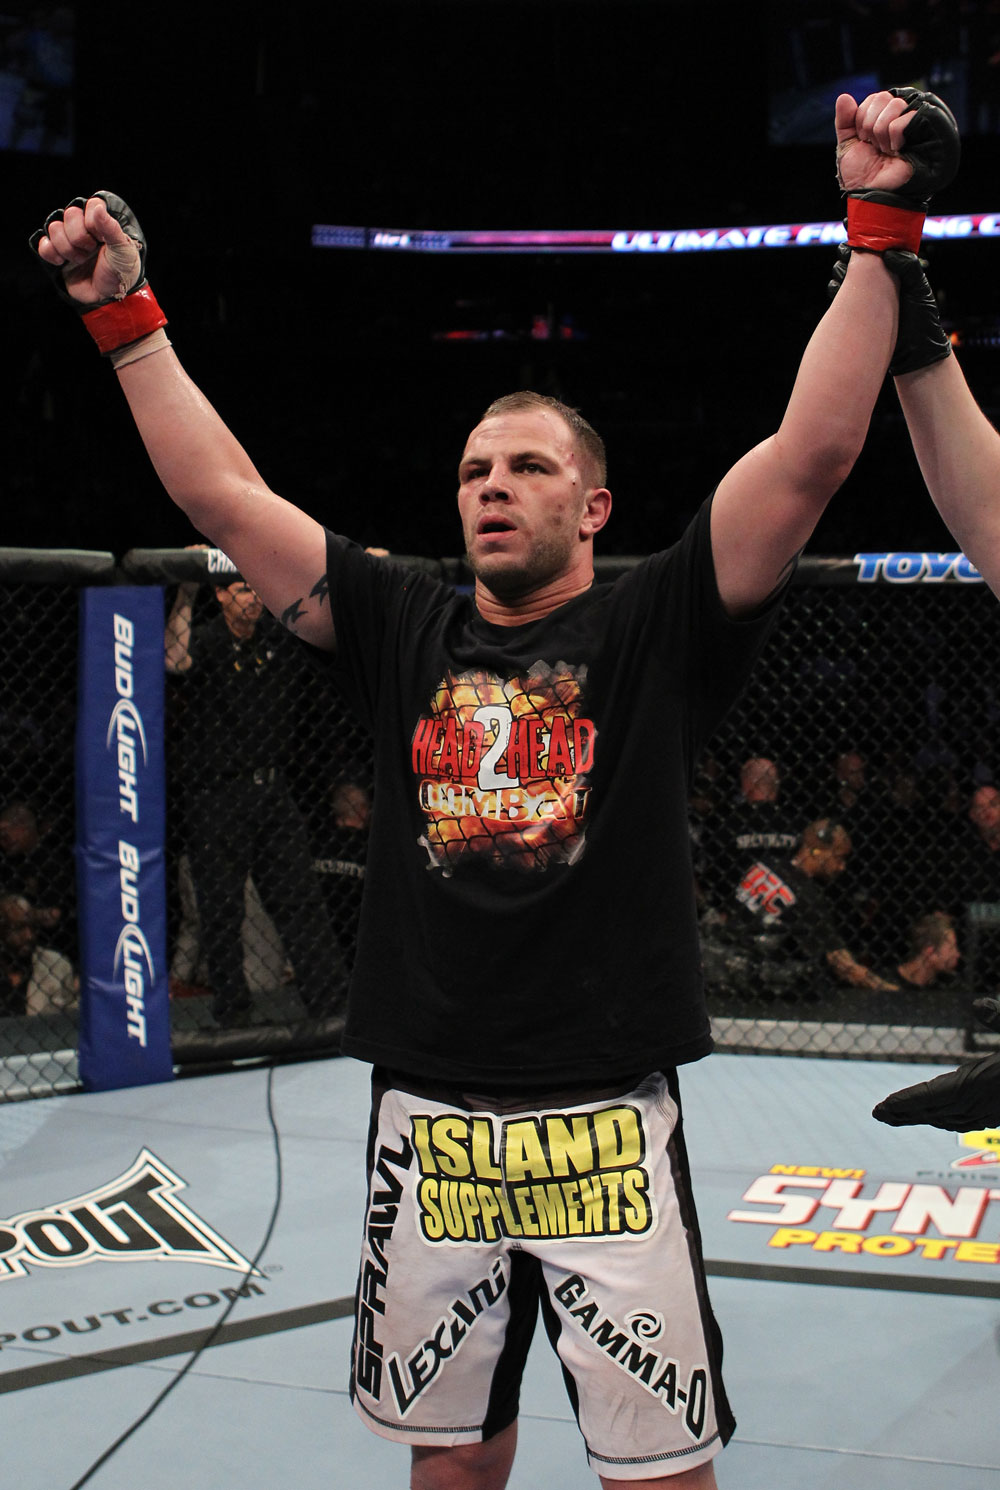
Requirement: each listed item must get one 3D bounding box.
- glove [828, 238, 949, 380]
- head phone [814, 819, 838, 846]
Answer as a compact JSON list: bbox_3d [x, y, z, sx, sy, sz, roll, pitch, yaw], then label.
[{"bbox_3d":[0.449,-0.481,1.476,0.095,0.167,0.065,-13,35,20],"label":"glove"},{"bbox_3d":[1.375,0.354,5.568,0.077,0.095,0.097,-1,-4,-19],"label":"head phone"}]
